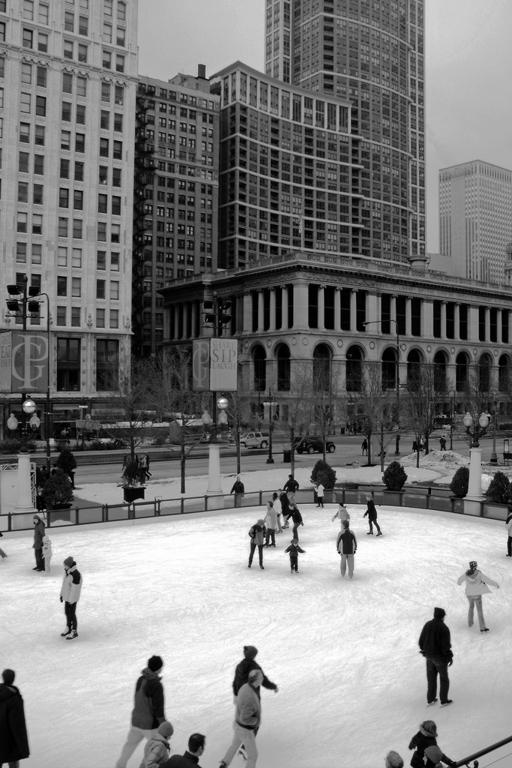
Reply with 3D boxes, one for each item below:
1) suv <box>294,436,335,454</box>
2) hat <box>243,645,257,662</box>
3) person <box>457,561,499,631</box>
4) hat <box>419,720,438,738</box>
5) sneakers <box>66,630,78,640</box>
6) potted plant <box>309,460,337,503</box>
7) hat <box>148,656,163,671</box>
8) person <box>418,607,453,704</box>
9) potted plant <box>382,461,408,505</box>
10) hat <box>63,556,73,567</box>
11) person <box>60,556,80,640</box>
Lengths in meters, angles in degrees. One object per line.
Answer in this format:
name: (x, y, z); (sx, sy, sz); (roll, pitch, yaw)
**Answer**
suv: (4.049, 4.277, 61.189); (3.070, 1.475, 1.450); (-5, 5, -26)
hat: (-0.078, 3.425, 11.383); (0.131, 0.177, 0.143); (-1, -1, 7)
person: (4.119, 3.884, 16.677); (0.686, 1.456, 0.491); (-1, 20, 20)
hat: (1.962, 3.875, 10.161); (0.237, 0.146, 0.307); (8, -10, 2)
sneakers: (-3.360, 4.544, 16.260); (0.248, 0.193, 0.103); (7, -8, -12)
potted plant: (2.717, 3.672, 35.523); (0.966, 2.538, 1.342); (-4, 1, 11)
hat: (-1.232, 3.433, 10.959); (0.138, 0.204, 0.275); (-1, -1, 1)
person: (2.670, 3.987, 13.322); (0.454, 1.444, 0.856); (-1, -1, 11)
potted plant: (5.332, 3.781, 34.491); (0.802, 1.522, 2.224); (-1, -1, 9)
hat: (-3.360, 3.216, 16.159); (0.147, 0.197, 0.370); (-1, -1, -11)
person: (-3.372, 3.858, 16.305); (0.329, 1.475, 0.696); (0, -2, -12)
